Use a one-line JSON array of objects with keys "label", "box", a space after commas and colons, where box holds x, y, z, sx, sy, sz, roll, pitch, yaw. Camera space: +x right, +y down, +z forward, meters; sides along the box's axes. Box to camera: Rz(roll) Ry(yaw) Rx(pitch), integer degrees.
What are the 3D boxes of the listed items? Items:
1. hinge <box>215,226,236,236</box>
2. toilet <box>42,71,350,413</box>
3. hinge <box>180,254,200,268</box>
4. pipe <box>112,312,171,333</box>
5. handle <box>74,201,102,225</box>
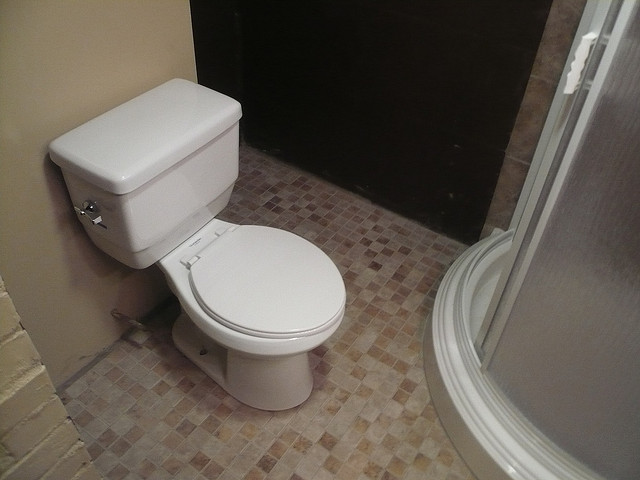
[{"label": "hinge", "box": [-0.323, -0.031, 1.675, 0.053, 0.013, 0.030, -28, 66, -22]}, {"label": "toilet", "box": [-0.324, 0.097, 1.681, 0.836, 0.889, 0.533, 29, 46, 22]}, {"label": "hinge", "box": [-0.420, 0.065, 1.602, 0.041, 0.014, 0.045, 24, 52, 25]}, {"label": "pipe", "box": [-0.678, 0.313, 1.874, 0.028, 0.188, 0.026, -19, 57, 33]}, {"label": "handle", "box": [-0.664, -0.081, 1.451, 0.081, 0.048, 0.029, 56, 42, -10]}]
